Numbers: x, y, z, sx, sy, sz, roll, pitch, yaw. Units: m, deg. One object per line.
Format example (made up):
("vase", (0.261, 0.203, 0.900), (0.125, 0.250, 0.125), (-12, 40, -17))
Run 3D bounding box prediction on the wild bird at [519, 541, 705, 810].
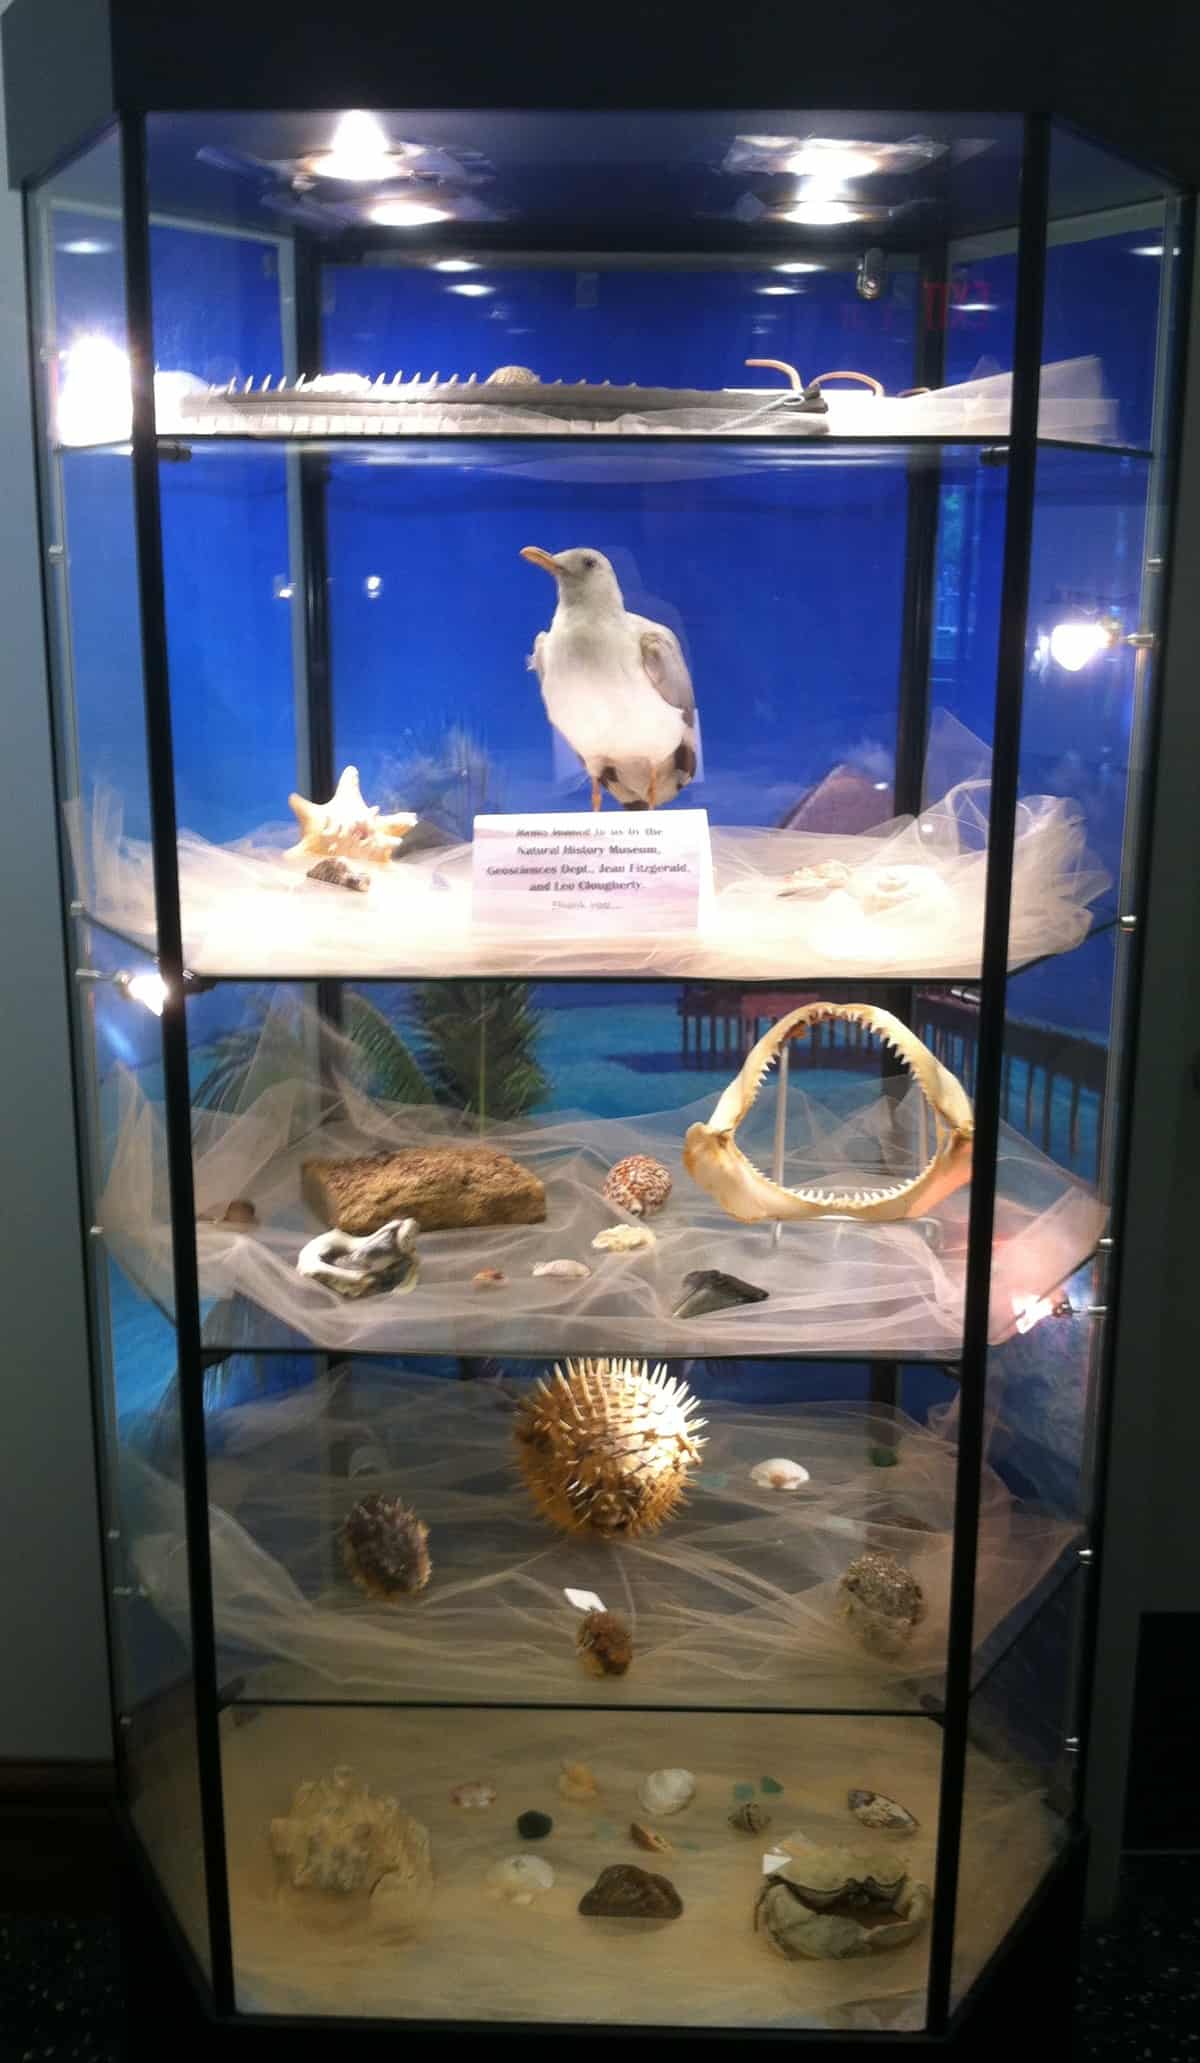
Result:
("wild bird", (0.009, -0.328, 1.526), (0.169, 0.219, 0.117), (3, 24, 7))
